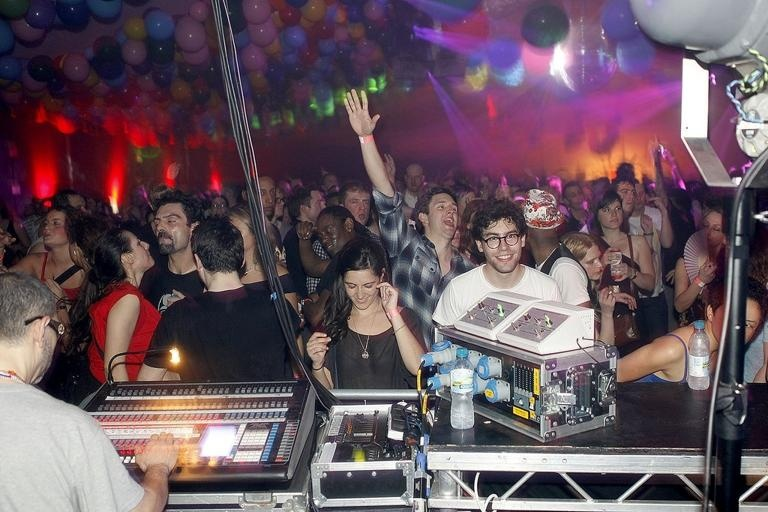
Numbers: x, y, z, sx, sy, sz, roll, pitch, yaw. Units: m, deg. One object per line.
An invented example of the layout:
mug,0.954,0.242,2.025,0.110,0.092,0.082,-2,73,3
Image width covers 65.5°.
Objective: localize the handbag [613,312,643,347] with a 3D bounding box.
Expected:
handbag,1.869,0.570,4.615,0.118,0.224,0.232,8,-30,-36
